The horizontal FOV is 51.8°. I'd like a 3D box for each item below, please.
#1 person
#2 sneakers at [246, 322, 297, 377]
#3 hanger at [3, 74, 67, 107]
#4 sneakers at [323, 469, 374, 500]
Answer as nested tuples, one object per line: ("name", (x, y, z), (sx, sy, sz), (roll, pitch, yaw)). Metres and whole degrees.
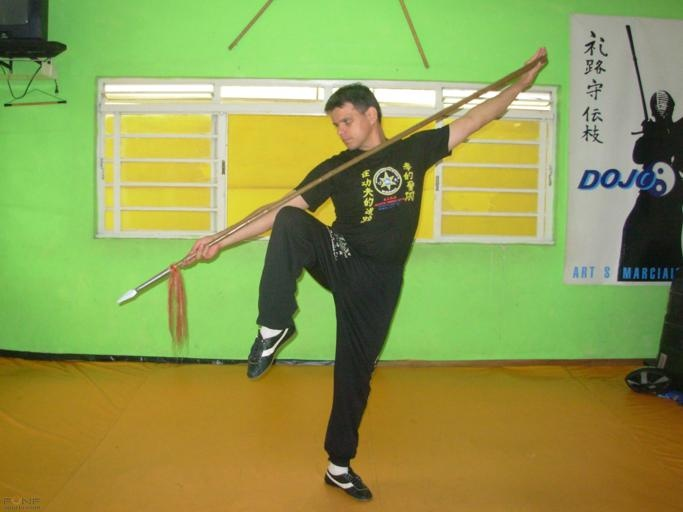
("person", (0.167, 0.237, 4.463), (1.394, 2.511, 0.572), (4, 9, 5))
("sneakers", (-0.471, 0.548, 4.426), (0.173, 0.468, 0.197), (31, 8, 39))
("hanger", (-2.484, -1.330, 5.721), (0.511, 0.254, 0.099), (5, 9, 11))
("sneakers", (0.061, 1.423, 4.494), (0.345, 0.157, 0.131), (17, 7, 18))
